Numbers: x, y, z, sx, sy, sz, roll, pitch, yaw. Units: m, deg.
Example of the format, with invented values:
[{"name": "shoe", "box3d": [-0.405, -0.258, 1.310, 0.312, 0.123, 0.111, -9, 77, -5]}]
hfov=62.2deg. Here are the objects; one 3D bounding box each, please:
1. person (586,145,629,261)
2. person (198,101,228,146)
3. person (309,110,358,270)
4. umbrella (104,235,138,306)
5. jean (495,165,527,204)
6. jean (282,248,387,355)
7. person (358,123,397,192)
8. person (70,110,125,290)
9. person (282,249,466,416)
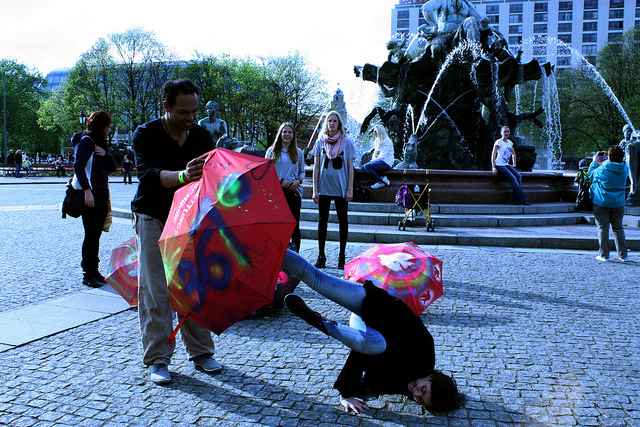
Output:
[{"name": "person", "box3d": [5.405, -0.226, 9.820, 0.721, 2.048, 1.168, 5, 15, 20]}, {"name": "person", "box3d": [-4.220, -3.446, 20.799, 1.241, 1.888, 1.010, -3, 11, -15]}, {"name": "person", "box3d": [0.250, -0.420, 8.952, 0.721, 2.569, 0.964, 0, 14, 0]}, {"name": "umbrella", "box3d": [-2.444, 0.696, 6.590, 0.458, 0.828, 0.308, 3, 14, 9]}, {"name": "jean", "box3d": [5.179, -0.829, 14.290, 0.815, 1.006, 0.491, 5, 15, 19]}, {"name": "jean", "box3d": [0.143, 0.796, 4.718, 0.930, 0.978, 0.278, -2, 14, -8]}, {"name": "person", "box3d": [1.601, -1.443, 13.851, 0.833, 1.807, 1.539, 2, 14, 8]}, {"name": "person", "box3d": [-3.347, -0.236, 7.833, 0.609, 2.491, 0.955, -2, 14, -8]}, {"name": "person", "box3d": [0.541, 1.274, 5.106, 2.158, 0.699, 1.050, 35, 16, -9]}]
